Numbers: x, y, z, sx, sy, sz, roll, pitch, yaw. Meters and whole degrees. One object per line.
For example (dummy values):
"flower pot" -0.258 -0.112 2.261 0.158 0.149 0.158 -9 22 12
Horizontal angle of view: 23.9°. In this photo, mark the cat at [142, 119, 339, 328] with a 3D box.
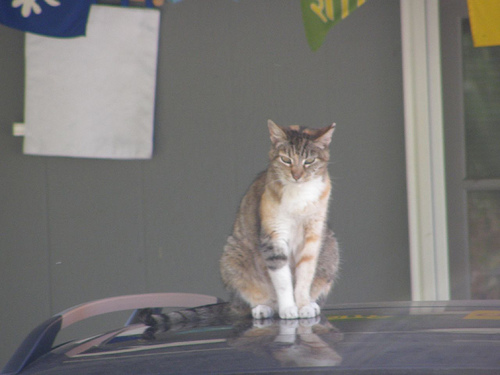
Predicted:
"cat" -0.011 0.214 6.975 0.788 1.108 1.450 -2 -2 -41
